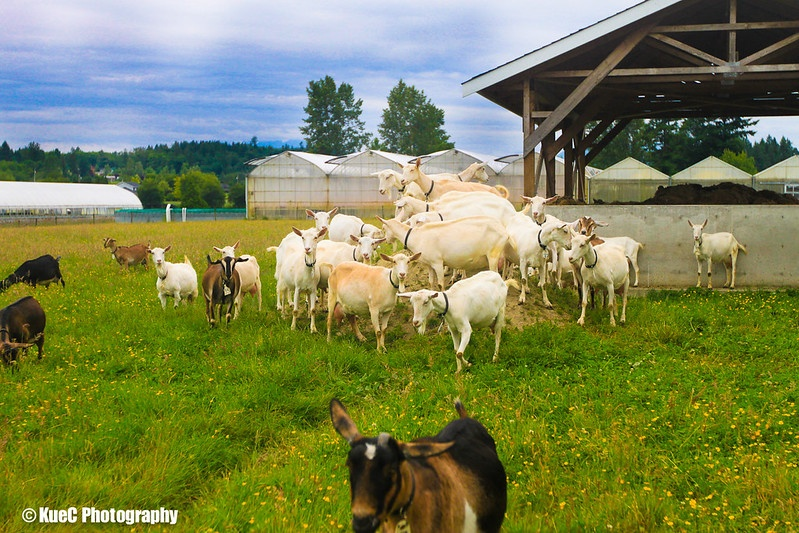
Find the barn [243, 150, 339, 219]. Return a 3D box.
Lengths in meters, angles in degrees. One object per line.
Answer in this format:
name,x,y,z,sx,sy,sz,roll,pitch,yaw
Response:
barn,-8.174,-5.852,60.934,5.373,3.507,5.537,0,0,1

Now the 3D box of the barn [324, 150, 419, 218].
barn,-2.630,-6.274,62.198,6.427,3.443,6.870,-4,-9,8
